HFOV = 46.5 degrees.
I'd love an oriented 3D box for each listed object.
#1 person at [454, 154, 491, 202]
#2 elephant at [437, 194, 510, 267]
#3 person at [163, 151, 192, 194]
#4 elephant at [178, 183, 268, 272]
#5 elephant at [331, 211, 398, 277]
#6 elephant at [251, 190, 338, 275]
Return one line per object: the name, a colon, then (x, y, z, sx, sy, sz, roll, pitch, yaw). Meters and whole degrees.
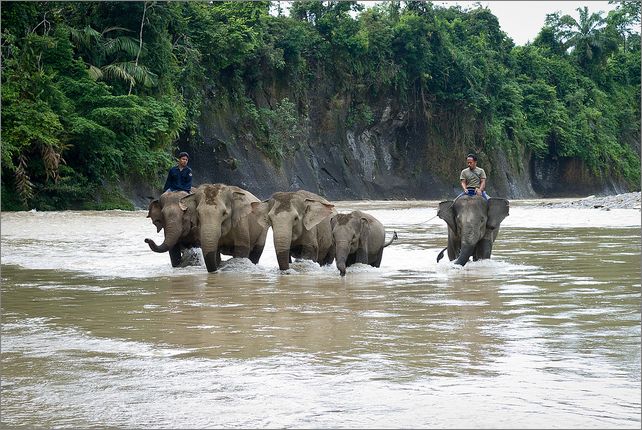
person: (3.225, -0.803, 15.739, 0.521, 0.960, 2.153, 1, 0, 11)
elephant: (2.904, 0.290, 14.586, 1.287, 1.361, 0.982, 1, 0, 35)
person: (-2.916, -0.842, 15.300, 0.544, 0.847, 0.539, 6, 4, -2)
elephant: (-1.899, 0.365, 14.917, 1.480, 1.884, 2.608, -2, -2, 7)
elephant: (0.684, 0.508, 14.442, 0.756, 1.201, 2.179, 1, 0, 23)
elephant: (-0.351, 0.278, 14.194, 1.547, 1.471, 1.085, 1, 0, -44)
